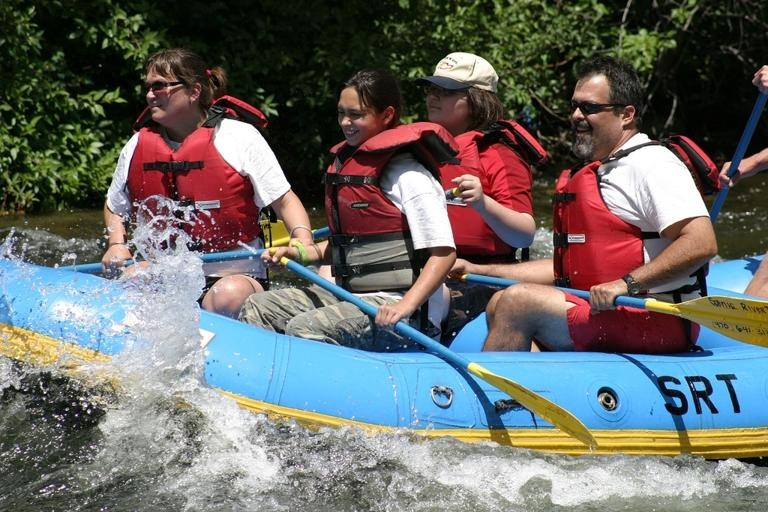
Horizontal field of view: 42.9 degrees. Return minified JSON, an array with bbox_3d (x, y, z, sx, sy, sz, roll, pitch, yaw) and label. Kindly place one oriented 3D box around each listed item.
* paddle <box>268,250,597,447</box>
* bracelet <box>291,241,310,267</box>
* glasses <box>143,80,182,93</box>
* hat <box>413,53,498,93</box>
[{"bbox_3d":[0.271,0.587,5.828,2.184,0.191,0.178,27,-6,3],"label":"paddle"},{"bbox_3d":[-0.517,-0.012,6.073,0.047,0.139,0.099,-5,-17,-18],"label":"bracelet"},{"bbox_3d":[-1.425,-1.078,6.222,0.276,0.082,0.101,7,23,20],"label":"glasses"},{"bbox_3d":[0.534,-1.242,6.731,0.424,0.186,0.300,5,2,-24],"label":"hat"}]
